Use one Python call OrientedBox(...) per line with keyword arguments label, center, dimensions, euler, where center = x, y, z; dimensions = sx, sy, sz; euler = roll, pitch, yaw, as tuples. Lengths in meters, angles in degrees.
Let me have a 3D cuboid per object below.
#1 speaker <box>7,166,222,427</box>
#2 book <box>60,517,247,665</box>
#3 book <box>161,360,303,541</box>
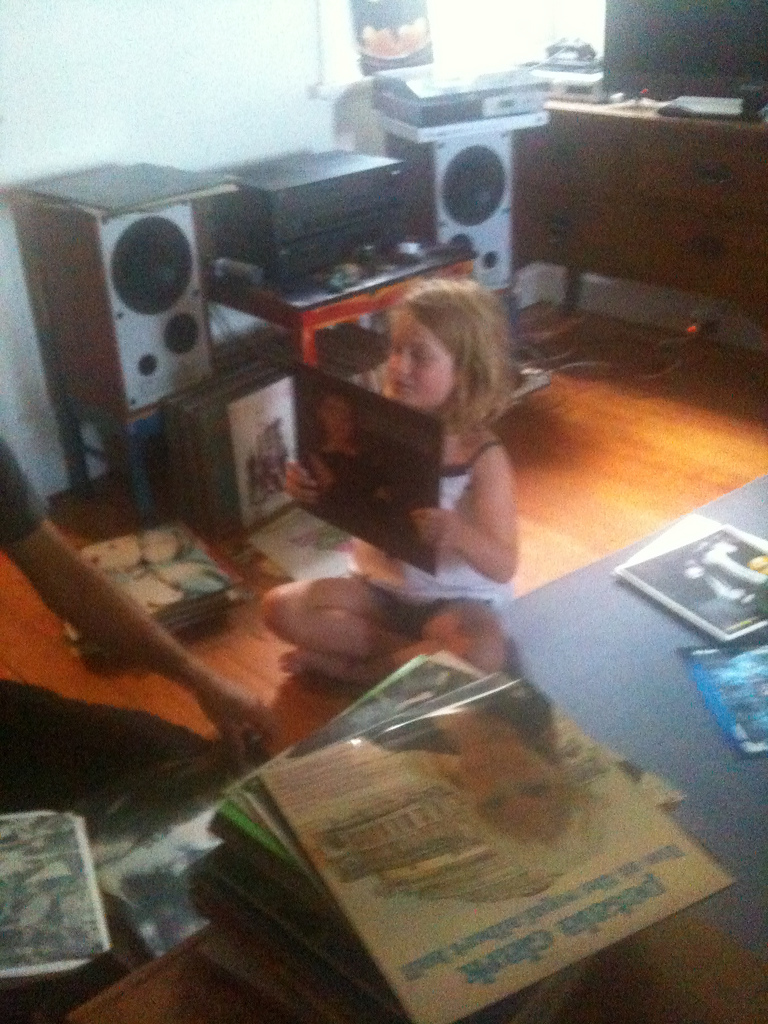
OrientedBox(label="speaker", center=(-0.363, -0.319, 1.301), dimensions=(0.131, 0.368, 0.352), euler=(10, 29, 27))
OrientedBox(label="book", center=(-0.330, 0.107, 1.330), dimensions=(0.195, 0.043, 0.190), euler=(-21, 51, -42))
OrientedBox(label="book", center=(-0.261, -0.103, 1.439), dimensions=(0.081, 0.218, 0.247), euler=(16, 36, 33))
